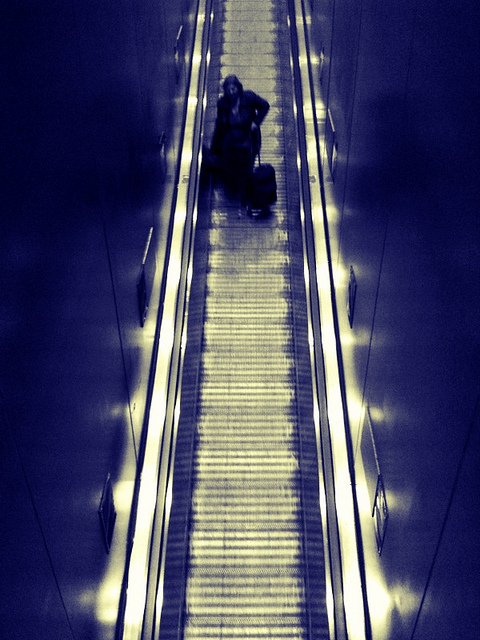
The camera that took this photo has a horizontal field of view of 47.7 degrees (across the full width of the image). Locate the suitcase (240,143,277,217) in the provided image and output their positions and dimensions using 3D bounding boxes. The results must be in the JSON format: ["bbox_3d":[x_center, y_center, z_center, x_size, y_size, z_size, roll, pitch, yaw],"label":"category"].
[{"bbox_3d":[0.316,-2.507,9.812,0.580,0.863,1.742,0,-50,1],"label":"suitcase"}]

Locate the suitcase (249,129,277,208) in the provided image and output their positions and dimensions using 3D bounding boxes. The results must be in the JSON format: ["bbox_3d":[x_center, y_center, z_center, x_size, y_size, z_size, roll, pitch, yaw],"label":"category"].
[{"bbox_3d":[0.426,-2.511,9.793,0.494,0.902,0.306,3,13,-2],"label":"suitcase"}]

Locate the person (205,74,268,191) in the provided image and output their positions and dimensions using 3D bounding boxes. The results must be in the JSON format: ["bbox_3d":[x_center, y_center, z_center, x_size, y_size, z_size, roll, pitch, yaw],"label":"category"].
[{"bbox_3d":[-0.051,-3.128,9.685,0.693,2.682,0.633,-3,-19,4],"label":"person"}]
